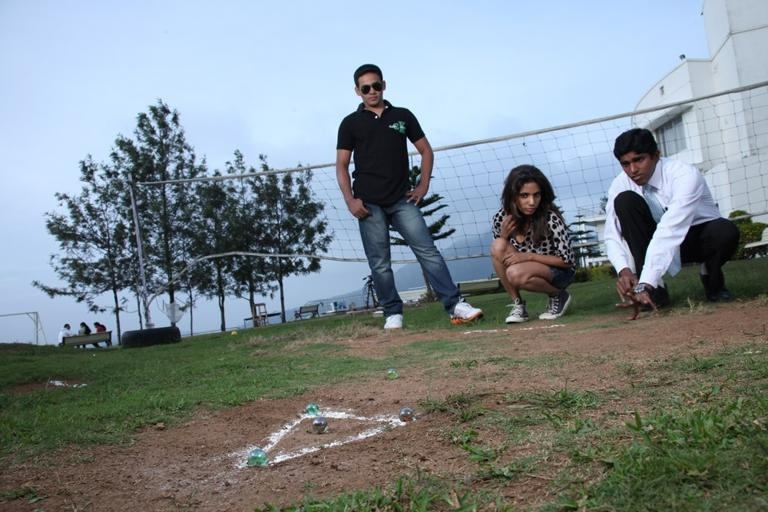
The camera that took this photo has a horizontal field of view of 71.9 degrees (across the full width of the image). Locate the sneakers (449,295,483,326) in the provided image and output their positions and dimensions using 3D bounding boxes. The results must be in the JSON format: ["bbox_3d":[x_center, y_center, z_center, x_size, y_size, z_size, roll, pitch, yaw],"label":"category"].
[{"bbox_3d":[0.994,0.653,6.228,0.205,0.268,0.428,-8,-5,-38],"label":"sneakers"}]

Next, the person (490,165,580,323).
[{"bbox_3d":[1.533,-0.108,5.509,0.834,1.149,0.826,-8,3,4],"label":"person"}]

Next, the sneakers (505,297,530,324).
[{"bbox_3d":[1.458,0.644,5.880,0.160,0.220,0.454,-4,-10,23],"label":"sneakers"}]

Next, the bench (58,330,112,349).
[{"bbox_3d":[-10.528,2.991,18.782,1.413,0.638,2.356,-9,2,-25],"label":"bench"}]

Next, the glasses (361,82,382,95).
[{"bbox_3d":[-0.132,-1.956,6.158,0.274,0.110,0.109,-9,3,-21],"label":"glasses"}]

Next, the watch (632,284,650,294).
[{"bbox_3d":[2.038,0.261,4.241,0.083,0.025,0.082,-52,19,-20],"label":"watch"}]

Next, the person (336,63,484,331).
[{"bbox_3d":[0.116,-0.676,6.269,1.270,2.588,0.622,-8,3,-4],"label":"person"}]

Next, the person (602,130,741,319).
[{"bbox_3d":[2.441,-0.307,4.805,1.544,1.668,0.793,-10,3,-34],"label":"person"}]

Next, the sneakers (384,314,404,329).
[{"bbox_3d":[0.124,0.810,6.432,0.169,0.207,0.237,4,-3,-32],"label":"sneakers"}]
